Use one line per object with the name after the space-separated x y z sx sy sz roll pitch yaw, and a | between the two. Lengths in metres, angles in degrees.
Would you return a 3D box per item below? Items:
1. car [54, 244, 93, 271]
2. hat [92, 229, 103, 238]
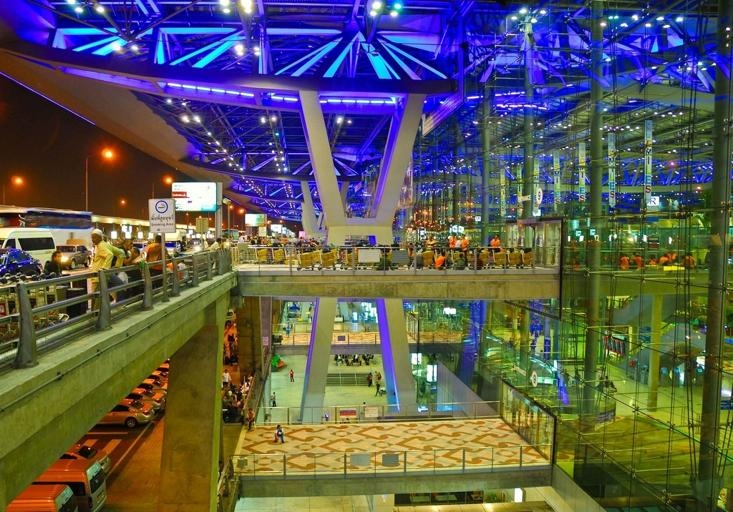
-13.715 0.051 26.047 1.404 0.929 2.715 -1 -3 -10 | car
-7.331 -0.621 15.111 0.208 0.224 0.271 7 15 -4 | hat
